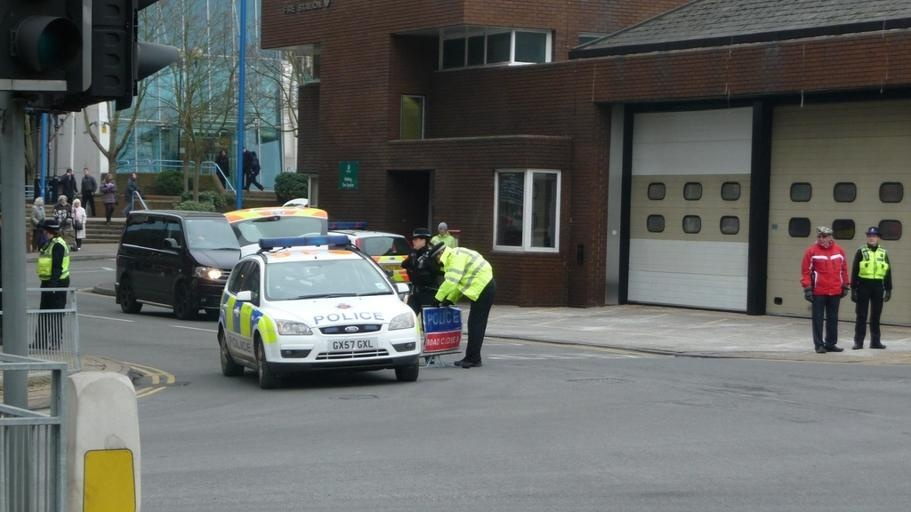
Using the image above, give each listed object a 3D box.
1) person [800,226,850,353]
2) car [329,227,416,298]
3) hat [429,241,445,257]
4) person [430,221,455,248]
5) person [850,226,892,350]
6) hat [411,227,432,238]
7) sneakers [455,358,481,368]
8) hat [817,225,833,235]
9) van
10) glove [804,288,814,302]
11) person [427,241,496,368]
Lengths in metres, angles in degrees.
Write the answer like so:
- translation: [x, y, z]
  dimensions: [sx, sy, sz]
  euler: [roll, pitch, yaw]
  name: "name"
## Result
- translation: [8.315, 0.728, 26.890]
  dimensions: [0.976, 2.717, 0.834]
  euler: [0, 3, -18]
  name: "person"
- translation: [-2.073, 0.003, 31.979]
  dimensions: [1.377, 1.138, 2.293]
  euler: [0, 6, -19]
  name: "car"
- translation: [-0.376, -0.165, 26.230]
  dimensions: [0.269, 0.343, 0.269]
  euler: [41, 11, -2]
  name: "hat"
- translation: [-0.289, -0.589, 32.569]
  dimensions: [0.945, 0.882, 0.530]
  euler: [1, -2, -7]
  name: "person"
- translation: [9.354, 0.711, 27.248]
  dimensions: [1.028, 2.704, 0.647]
  euler: [0, 3, -15]
  name: "person"
- translation: [-0.713, -0.499, 26.099]
  dimensions: [0.437, 0.152, 0.370]
  euler: [2, -1, -2]
  name: "hat"
- translation: [0.263, 2.189, 24.768]
  dimensions: [0.479, 0.189, 0.200]
  euler: [3, -1, 1]
  name: "sneakers"
- translation: [8.307, -0.560, 27.127]
  dimensions: [0.449, 0.203, 0.571]
  euler: [0, 0, 1]
  name: "hat"
- translation: [-7.220, 0.124, 32.612]
  dimensions: [2.321, 2.043, 4.124]
  euler: [2, -1, -41]
  name: "van"
- translation: [7.960, 0.862, 27.019]
  dimensions: [0.285, 0.289, 0.274]
  euler: [0, -4, -7]
  name: "glove"
- translation: [0.200, 1.029, 25.189]
  dimensions: [1.229, 2.417, 1.477]
  euler: [1, 3, -1]
  name: "person"
